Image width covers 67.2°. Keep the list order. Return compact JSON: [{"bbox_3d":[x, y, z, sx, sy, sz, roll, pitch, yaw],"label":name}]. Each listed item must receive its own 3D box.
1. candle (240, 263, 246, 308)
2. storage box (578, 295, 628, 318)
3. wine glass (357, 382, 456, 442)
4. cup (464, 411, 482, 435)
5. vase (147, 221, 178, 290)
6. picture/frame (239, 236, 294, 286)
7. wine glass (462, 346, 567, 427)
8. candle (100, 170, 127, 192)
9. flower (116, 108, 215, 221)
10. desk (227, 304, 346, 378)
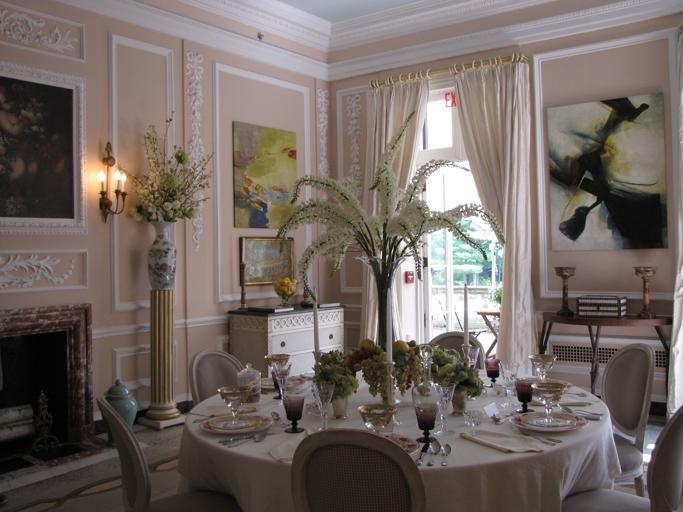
[{"bbox_3d":[-1.058,0.311,5.519,0.064,0.480,0.224,0,-3,-10],"label":"candle"},{"bbox_3d":[2.359,0.459,4.690,0.399,0.199,0.209,-2,-3,24],"label":"storage box"},{"bbox_3d":[0.304,0.696,2.323,0.389,0.195,0.214,-3,-6,9],"label":"wine glass"},{"bbox_3d":[0.628,0.798,2.472,0.068,0.057,0.070,-2,-1,0],"label":"cup"},{"bbox_3d":[-1.646,0.002,4.738,0.227,0.620,0.140,1,-3,-25],"label":"vase"},{"bbox_3d":[-0.849,0.065,5.626,0.034,0.397,0.511,-3,-1,43],"label":"picture/frame"},{"bbox_3d":[0.909,0.645,2.589,0.301,0.415,0.292,0,-5,3],"label":"wine glass"},{"bbox_3d":[-2.066,-0.669,4.649,0.204,0.223,0.097,1,-3,-29],"label":"candle"},{"bbox_3d":[-1.614,-0.852,4.931,0.820,1.126,0.502,1,-3,-32],"label":"flower"},{"bbox_3d":[-0.620,1.043,5.604,1.103,1.009,0.648,1,-3,-44],"label":"desk"}]
